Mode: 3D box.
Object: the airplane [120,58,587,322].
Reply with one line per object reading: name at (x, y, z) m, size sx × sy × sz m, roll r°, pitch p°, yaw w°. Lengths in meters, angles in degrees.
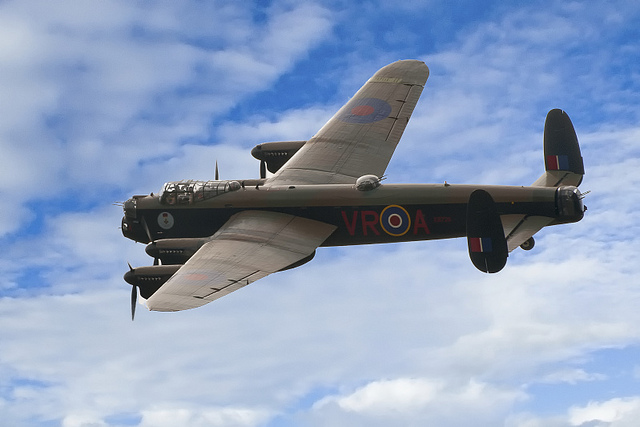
airplane at (0.851, -0.493, 43.107) m, size 17.469 × 3.784 × 20.003 m, roll 1°, pitch 22°, yaw 17°
